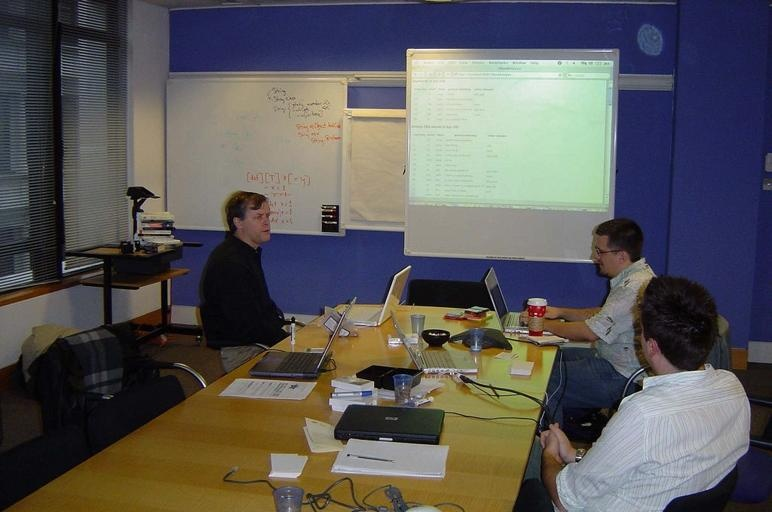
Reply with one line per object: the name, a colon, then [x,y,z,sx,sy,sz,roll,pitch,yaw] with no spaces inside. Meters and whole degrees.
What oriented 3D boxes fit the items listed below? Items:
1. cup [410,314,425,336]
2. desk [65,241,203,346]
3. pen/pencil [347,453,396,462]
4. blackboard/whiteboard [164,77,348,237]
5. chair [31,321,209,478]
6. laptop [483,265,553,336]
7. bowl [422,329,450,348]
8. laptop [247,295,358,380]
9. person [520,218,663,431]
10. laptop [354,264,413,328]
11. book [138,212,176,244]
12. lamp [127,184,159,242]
cup: [0.211,0.449,3.765,0.115,0.123,0.117,3,6,0]
desk: [-2.300,0.305,5.472,0.940,1.081,1.167,4,7,20]
pen/pencil: [-0.068,0.875,2.465,0.193,0.014,0.022,1,10,9]
blackboard/whiteboard: [-1.282,-1.099,5.938,1.798,1.478,0.080,1,5,8]
chair: [-1.503,0.646,2.975,0.774,0.361,0.573,23,29,28]
laptop: [0.942,0.330,4.168,0.385,0.330,0.456,1,13,8]
bowl: [0.328,0.524,3.660,0.120,0.053,0.118,2,6,0]
laptop: [-0.483,0.483,3.323,0.502,0.314,0.539,5,3,-5]
person: [1.540,0.664,4.229,0.938,1.734,0.791,4,7,30]
laptop: [-0.044,0.297,4.138,0.415,0.269,0.448,-1,9,13]
book: [-2.207,-0.265,5.423,0.319,0.193,0.312,-1,7,-3]
lamp: [-2.325,-0.390,5.431,0.282,0.197,0.527,-4,54,-23]
